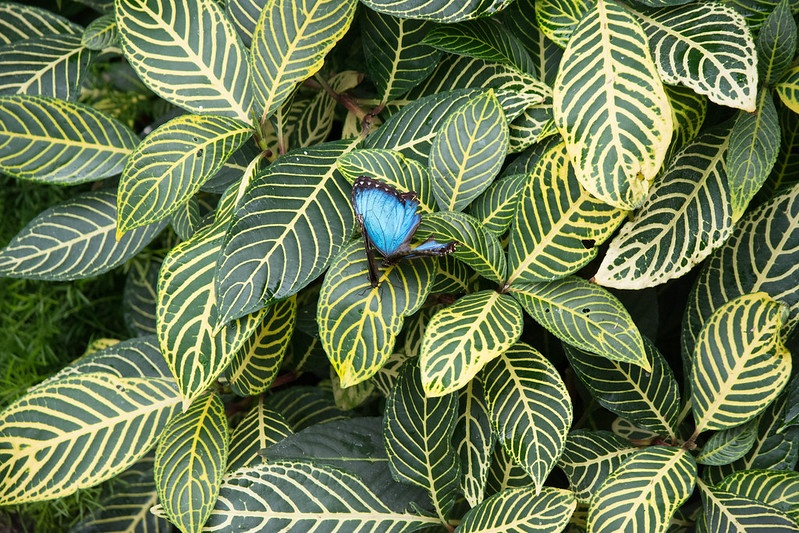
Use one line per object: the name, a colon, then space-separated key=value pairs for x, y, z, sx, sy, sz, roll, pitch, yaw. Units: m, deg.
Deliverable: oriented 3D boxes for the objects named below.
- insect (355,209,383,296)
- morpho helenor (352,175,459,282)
insect: x=-0.087 y=-0.041 z=2.743 sx=0.055 sy=0.130 sz=0.168 roll=-14 pitch=98 yaw=-13
morpho helenor: x=0.011 y=-0.121 z=2.764 sx=0.276 sy=0.200 sz=0.256 roll=-7 pitch=59 yaw=-9
